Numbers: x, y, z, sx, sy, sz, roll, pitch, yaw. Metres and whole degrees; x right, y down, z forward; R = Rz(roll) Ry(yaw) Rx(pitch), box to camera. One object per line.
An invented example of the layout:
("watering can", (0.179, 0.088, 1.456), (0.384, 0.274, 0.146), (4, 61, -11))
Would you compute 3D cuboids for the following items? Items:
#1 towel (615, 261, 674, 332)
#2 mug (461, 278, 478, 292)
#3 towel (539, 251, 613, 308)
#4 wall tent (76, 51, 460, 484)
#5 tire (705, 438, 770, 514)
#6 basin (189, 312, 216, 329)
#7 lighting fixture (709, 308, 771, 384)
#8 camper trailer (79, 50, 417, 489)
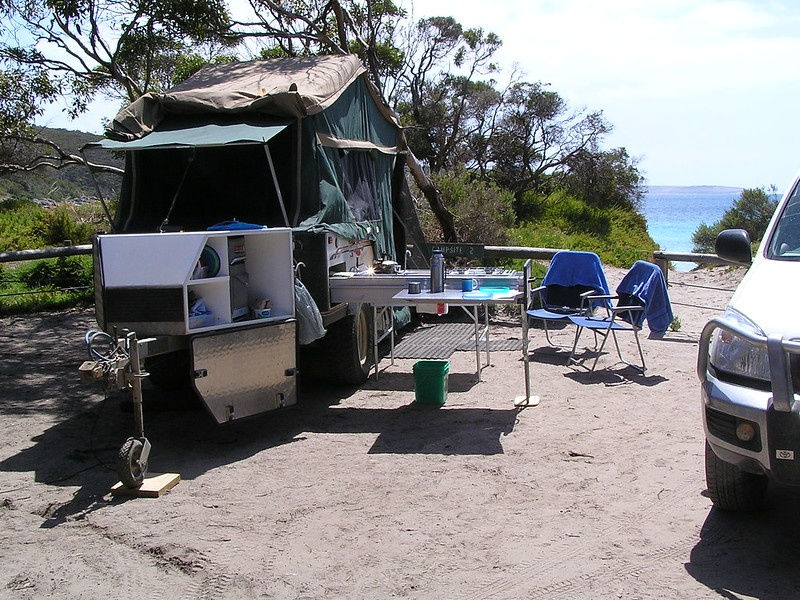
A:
("towel", (2.728, -0.111, 7.488), (0.362, 0.655, 0.663), (-8, 31, -29))
("mug", (0.671, -0.153, 6.377), (0.099, 0.122, 0.180), (-1, 0, 43))
("towel", (2.165, -0.285, 8.181), (0.811, 0.614, 0.368), (6, 0, 7))
("wall tent", (-1.278, -0.237, 6.415), (2.189, 2.892, 5.276), (1, 9, 11))
("tire", (2.029, 1.052, 3.970), (0.255, 0.628, 0.621), (-2, 0, 29))
("basin", (-1.611, 0.174, 5.315), (0.089, 0.103, 0.312), (3, 12, 19))
("lighting fixture", (1.960, 0.254, 3.788), (0.249, 0.349, 0.127), (15, 21, 40))
("camper trailer", (-1.610, -0.793, 7.220), (2.527, 3.199, 5.789), (1, 13, 12))
